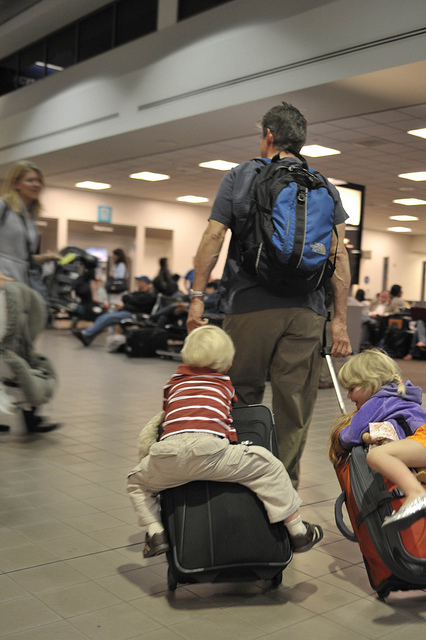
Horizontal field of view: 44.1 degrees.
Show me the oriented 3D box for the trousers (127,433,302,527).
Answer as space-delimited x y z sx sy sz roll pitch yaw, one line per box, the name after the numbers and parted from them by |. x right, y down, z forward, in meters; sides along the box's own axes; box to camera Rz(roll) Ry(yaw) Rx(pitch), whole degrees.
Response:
0.004 0.466 1.495 0.501 0.297 0.224 3 -2 -5 | trousers

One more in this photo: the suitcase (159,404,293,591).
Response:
-0.017 0.491 1.611 0.420 0.528 0.328 11 -4 -43 | suitcase

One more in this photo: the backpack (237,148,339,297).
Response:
0.287 -0.389 2.012 0.416 0.542 0.370 9 10 5 | backpack

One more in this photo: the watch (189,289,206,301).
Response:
-0.061 -0.106 2.125 0.053 0.030 0.043 3 1 -13 | watch

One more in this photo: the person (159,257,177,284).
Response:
-1.158 -1.244 13.140 0.401 0.763 1.015 4 -3 -6 | person

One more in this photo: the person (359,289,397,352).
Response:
4.148 -0.097 13.308 0.750 1.428 3.306 3 -2 17 | person

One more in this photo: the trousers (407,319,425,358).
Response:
4.907 0.452 12.727 0.294 0.890 0.275 12 -11 31 | trousers

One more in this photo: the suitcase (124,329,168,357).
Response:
-1.265 0.402 9.759 0.947 0.593 0.488 1 1 -31 | suitcase
